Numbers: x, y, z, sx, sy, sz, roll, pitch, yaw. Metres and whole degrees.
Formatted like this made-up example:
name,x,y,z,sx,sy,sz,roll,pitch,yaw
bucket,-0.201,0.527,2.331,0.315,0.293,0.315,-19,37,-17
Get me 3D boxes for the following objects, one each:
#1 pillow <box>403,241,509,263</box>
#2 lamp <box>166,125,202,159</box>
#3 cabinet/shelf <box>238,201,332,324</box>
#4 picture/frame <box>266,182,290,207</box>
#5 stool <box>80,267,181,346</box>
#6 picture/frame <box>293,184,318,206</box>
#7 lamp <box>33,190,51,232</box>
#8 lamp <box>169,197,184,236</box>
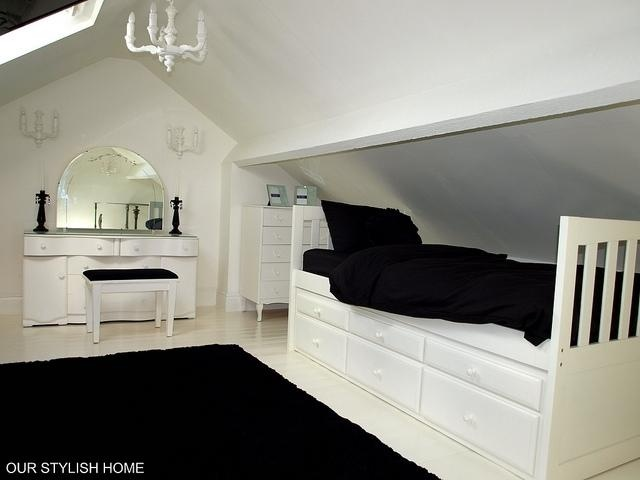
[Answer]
name,x,y,z,sx,sy,sz,roll,pitch,yaw
pillow,1.024,0.088,3.737,0.645,0.132,0.075,2,-3,-21
lamp,-1.536,-1.099,5.456,0.358,0.354,0.117,-3,5,-37
cabinet/shelf,-0.335,0.202,4.737,1.164,1.208,0.716,-3,5,-33
picture/frame,-0.487,-0.505,5.534,0.313,0.324,0.171,1,-7,-34
stool,-1.711,0.367,4.476,0.959,0.752,0.566,0,2,-29
picture/frame,-0.165,-0.447,5.510,0.302,0.313,0.229,1,-4,-19
lamp,-2.690,-0.283,4.744,0.141,0.384,0.433,-1,9,-29
lamp,-1.570,-0.268,5.354,0.134,0.406,0.307,1,8,-16
